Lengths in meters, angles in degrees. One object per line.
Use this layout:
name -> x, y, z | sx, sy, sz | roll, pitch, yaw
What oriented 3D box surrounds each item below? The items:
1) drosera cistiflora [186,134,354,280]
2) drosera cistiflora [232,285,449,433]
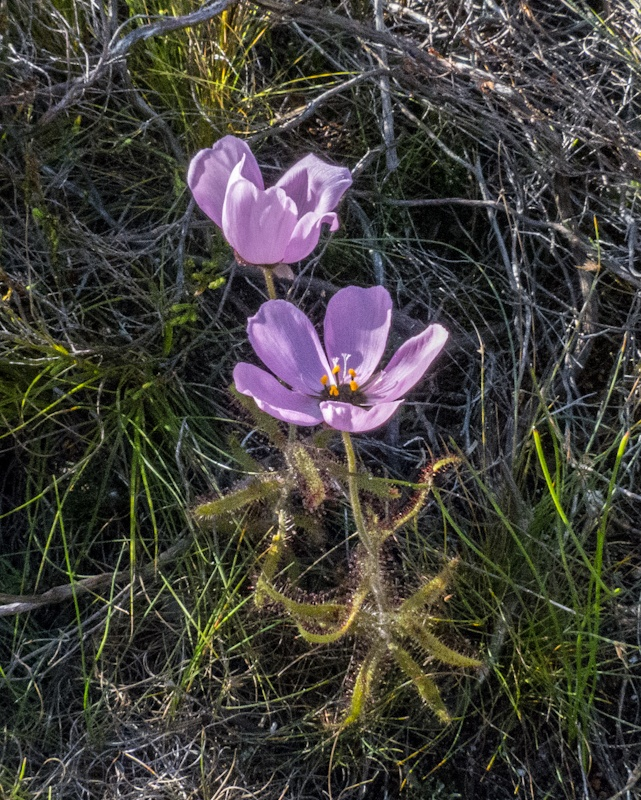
drosera cistiflora -> -0.132, -0.440, 1.860 | 0.396, 0.429, 0.275 | -3, 93, 7
drosera cistiflora -> 0.033, -0.108, 1.981 | 0.486, 0.542, 0.224 | -5, 92, -37
